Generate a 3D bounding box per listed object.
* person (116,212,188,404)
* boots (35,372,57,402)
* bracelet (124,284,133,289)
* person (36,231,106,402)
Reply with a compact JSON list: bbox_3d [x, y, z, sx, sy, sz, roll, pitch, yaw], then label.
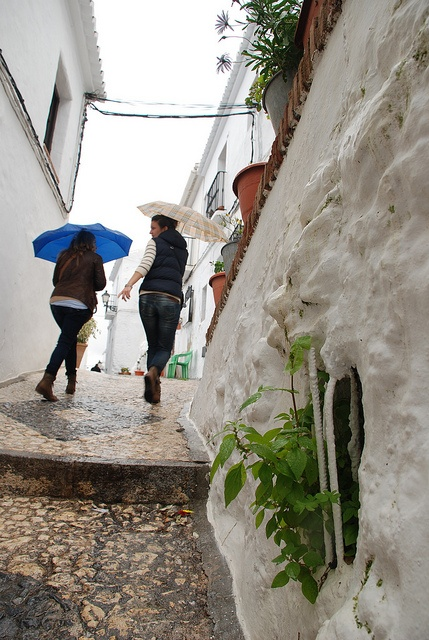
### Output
[{"bbox_3d":[-0.541,-0.176,3.846,0.480,1.619,0.889,5,-2,-1],"label":"person"},{"bbox_3d":[-1.331,0.540,3.420,0.150,0.239,0.305,6,-2,-18],"label":"boots"},{"bbox_3d":[-0.741,-0.294,3.658,0.053,0.022,0.054,-1,-3,7],"label":"bracelet"},{"bbox_3d":[-1.201,-0.083,3.704,0.455,1.541,0.744,5,-2,-17],"label":"person"}]
